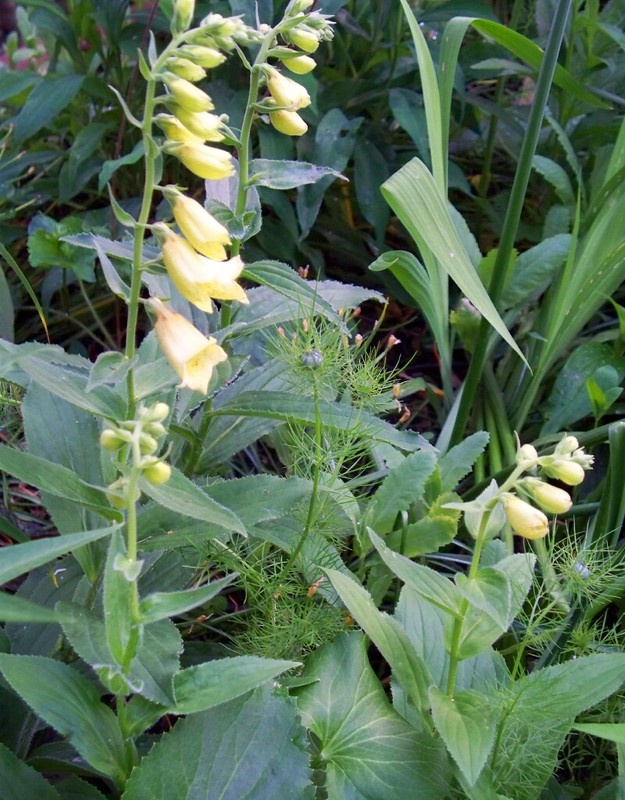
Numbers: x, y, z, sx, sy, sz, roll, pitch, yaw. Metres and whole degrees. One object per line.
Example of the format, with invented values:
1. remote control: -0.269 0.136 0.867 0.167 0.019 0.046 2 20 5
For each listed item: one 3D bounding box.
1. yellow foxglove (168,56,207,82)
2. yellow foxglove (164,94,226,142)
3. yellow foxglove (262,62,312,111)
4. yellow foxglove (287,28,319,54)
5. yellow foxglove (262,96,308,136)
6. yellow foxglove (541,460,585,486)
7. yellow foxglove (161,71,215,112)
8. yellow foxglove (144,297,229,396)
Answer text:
1. yellow foxglove: -0.123 -0.326 0.748 0.039 0.014 0.020 27 55 5
2. yellow foxglove: -0.117 -0.286 0.752 0.055 0.026 0.019 28 19 -6
3. yellow foxglove: -0.028 -0.378 0.926 0.066 0.028 0.040 48 67 -2
4. yellow foxglove: -0.013 -0.441 0.928 0.047 0.018 0.025 38 57 22
5. yellow foxglove: -0.051 -0.359 0.946 0.072 0.024 0.040 32 43 4
6. yellow foxglove: 0.268 0.077 0.790 0.045 0.021 0.019 3 24 33
7. yellow foxglove: -0.119 -0.289 0.715 0.041 0.036 0.043 -8 52 -8
8. yellow foxglove: -0.111 -0.049 0.798 0.071 0.057 0.114 -37 81 -7
